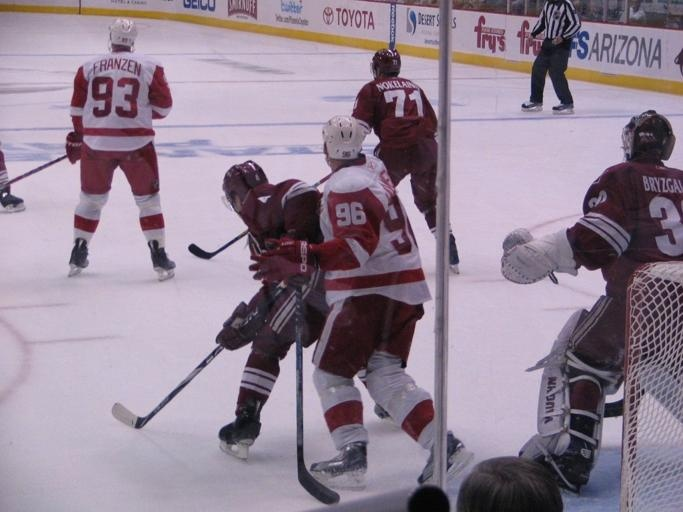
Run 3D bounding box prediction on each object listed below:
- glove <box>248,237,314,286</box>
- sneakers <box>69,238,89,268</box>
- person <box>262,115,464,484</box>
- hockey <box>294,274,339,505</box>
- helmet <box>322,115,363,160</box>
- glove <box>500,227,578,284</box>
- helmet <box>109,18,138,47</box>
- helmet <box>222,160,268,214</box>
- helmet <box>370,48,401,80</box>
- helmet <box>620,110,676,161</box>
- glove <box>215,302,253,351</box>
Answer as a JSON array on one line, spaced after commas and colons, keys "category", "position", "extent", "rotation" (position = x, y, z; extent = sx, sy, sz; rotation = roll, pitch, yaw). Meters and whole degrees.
[{"category": "glove", "position": [-0.213, 0.022, 2.804], "extent": [0.196, 0.148, 0.070], "rotation": [-2, -1, 4]}, {"category": "sneakers", "position": [-1.428, -0.014, 4.380], "extent": [0.069, 0.192, 0.201], "rotation": [9, 23, -10]}, {"category": "person", "position": [0.049, 0.159, 2.872], "extent": [0.811, 1.306, 0.645], "rotation": [1, 0, 37]}, {"category": "hockey", "position": [-0.102, 0.454, 2.814], "extent": [0.137, 0.723, 0.423], "rotation": [-2, 15, -13]}, {"category": "helmet", "position": [0.008, -0.408, 2.940], "extent": [0.182, 0.215, 0.217], "rotation": [-2, 13, -3]}, {"category": "glove", "position": [0.731, 0.015, 3.043], "extent": [0.258, 0.122, 0.195], "rotation": [-10, 44, -4]}, {"category": "helmet", "position": [-1.113, -1.141, 4.120], "extent": [0.130, 0.147, 0.159], "rotation": [-2, 22, -20]}, {"category": "helmet", "position": [-0.376, -0.265, 3.037], "extent": [0.164, 0.192, 0.194], "rotation": [-7, 0, -33]}, {"category": "helmet", "position": [0.248, -1.037, 4.281], "extent": [0.132, 0.169, 0.161], "rotation": [-5, 12, -21]}, {"category": "helmet", "position": [1.153, -0.452, 3.052], "extent": [0.198, 0.195, 0.153], "rotation": [15, 7, 11]}, {"category": "glove", "position": [-0.400, 0.264, 3.005], "extent": [0.063, 0.162, 0.161], "rotation": [36, 21, -39]}]
